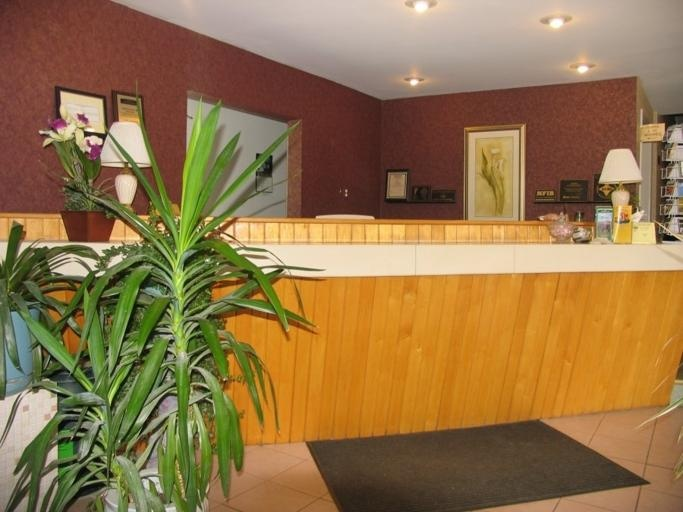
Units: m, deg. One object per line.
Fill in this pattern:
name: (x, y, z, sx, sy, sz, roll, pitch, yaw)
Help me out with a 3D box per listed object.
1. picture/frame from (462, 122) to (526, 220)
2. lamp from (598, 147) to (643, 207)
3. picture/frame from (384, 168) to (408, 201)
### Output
picture/frame: (1.946, -1.073, 6.454, 0.767, 1.201, 0.306, 3, 11, 12)
lamp: (2.345, -0.614, 4.246, 0.281, 0.519, 0.292, 0, -2, -7)
picture/frame: (0.761, -0.979, 6.902, 0.406, 0.596, 0.062, 1, -3, 9)
